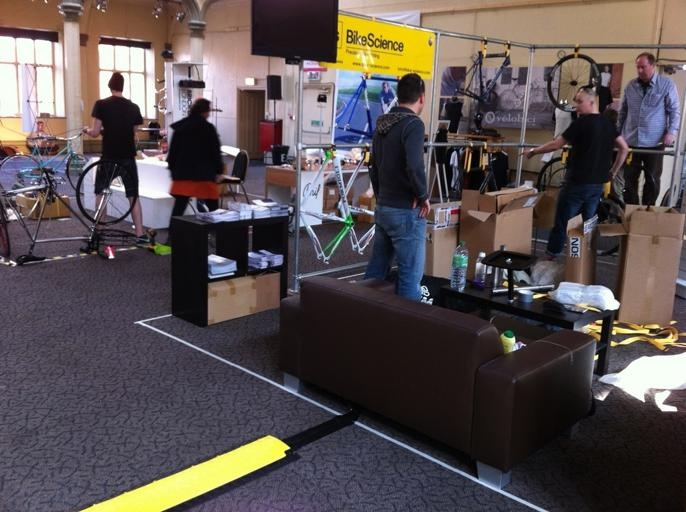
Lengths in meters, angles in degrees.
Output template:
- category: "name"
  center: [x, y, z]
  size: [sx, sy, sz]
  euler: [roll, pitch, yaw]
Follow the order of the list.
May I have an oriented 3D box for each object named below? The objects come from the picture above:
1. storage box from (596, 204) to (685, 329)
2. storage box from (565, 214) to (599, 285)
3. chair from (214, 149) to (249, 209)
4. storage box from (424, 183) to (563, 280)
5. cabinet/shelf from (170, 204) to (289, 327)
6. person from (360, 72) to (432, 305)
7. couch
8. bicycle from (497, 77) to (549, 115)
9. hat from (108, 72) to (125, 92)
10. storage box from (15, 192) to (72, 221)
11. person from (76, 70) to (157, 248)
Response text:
- category: "storage box"
  center: [2.471, 0.104, 4.394]
  size: [0.551, 0.957, 0.170]
  euler: [6, 16, 22]
- category: "storage box"
  center: [2.059, -0.012, 4.603]
  size: [0.184, 0.627, 0.385]
  euler: [12, 14, 40]
- category: "chair"
  center: [-1.674, -1.160, 7.815]
  size: [0.518, 0.790, 0.472]
  euler: [-10, 24, -44]
- category: "storage box"
  center: [1.446, -0.338, 5.284]
  size: [1.015, 0.774, 1.073]
  euler: [-9, 16, -34]
- category: "cabinet/shelf"
  center: [-0.958, 0.113, 4.502]
  size: [0.393, 0.800, 0.933]
  euler: [10, 14, 42]
- category: "person"
  center: [0.398, -0.458, 3.903]
  size: [0.465, 1.728, 0.689]
  euler: [2, 15, 8]
- category: "couch"
  center: [0.442, 0.613, 3.001]
  size: [1.652, 0.852, 0.629]
  euler: [7, 17, 25]
- category: "bicycle"
  center: [3.326, -2.965, 9.750]
  size: [1.004, 0.612, 0.503]
  euler: [22, 29, 38]
- category: "hat"
  center: [-2.705, -2.075, 6.285]
  size: [0.174, 0.220, 0.409]
  euler: [-7, 17, -22]
- category: "storage box"
  center: [-4.339, -0.691, 7.698]
  size: [0.817, 0.510, 0.787]
  euler: [-4, 12, -34]
- category: "person"
  center: [-2.804, -1.202, 6.607]
  size: [0.646, 2.075, 1.056]
  euler: [-7, 16, -21]
